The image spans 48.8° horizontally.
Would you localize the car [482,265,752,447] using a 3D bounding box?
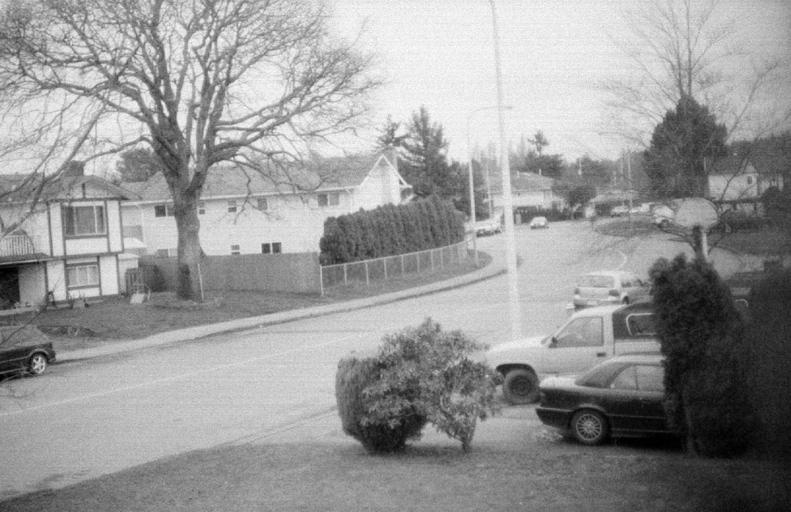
[{"bbox_3d":[3.617,2.036,15.242,3.921,1.801,2.121,-1,-1,19],"label":"car"}]
